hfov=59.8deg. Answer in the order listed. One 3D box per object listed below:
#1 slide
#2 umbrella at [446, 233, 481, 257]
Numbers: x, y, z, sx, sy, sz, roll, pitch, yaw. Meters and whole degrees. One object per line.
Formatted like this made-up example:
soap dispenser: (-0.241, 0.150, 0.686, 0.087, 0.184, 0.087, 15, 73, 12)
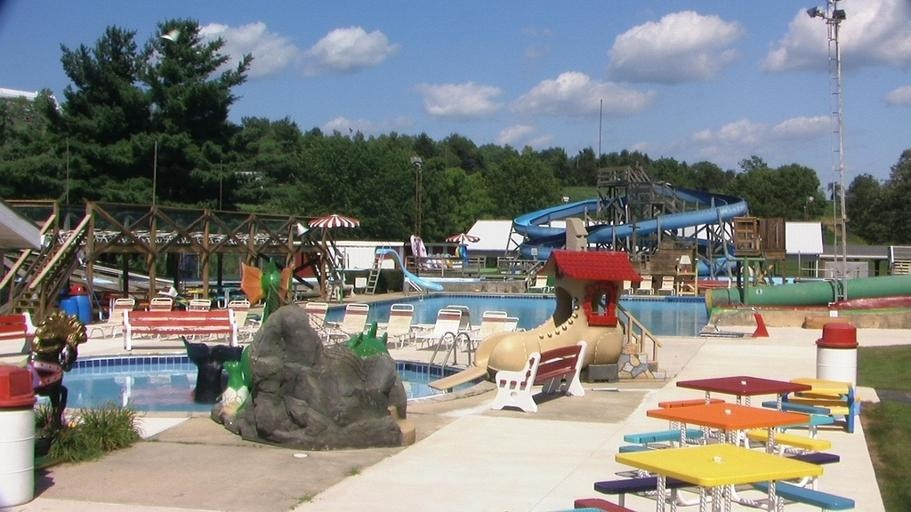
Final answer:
slide: (13.687, -1.413, 59.798, 16.988, 7.580, 19.050, 5, 10, 42)
umbrella: (0.512, -1.142, 64.698, 2.387, 1.707, 2.430, 5, -4, -43)
